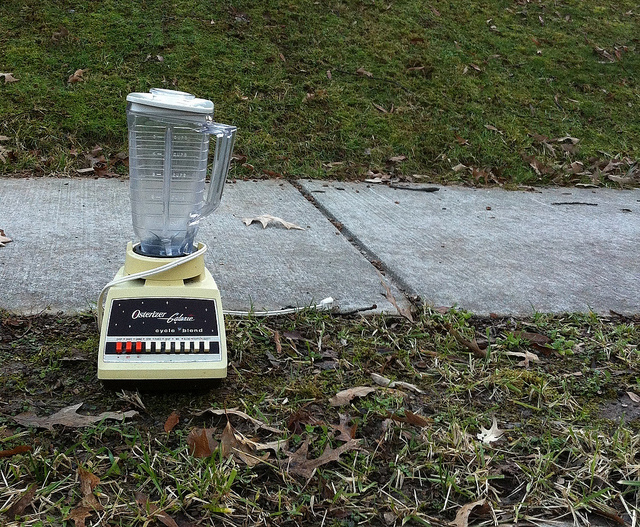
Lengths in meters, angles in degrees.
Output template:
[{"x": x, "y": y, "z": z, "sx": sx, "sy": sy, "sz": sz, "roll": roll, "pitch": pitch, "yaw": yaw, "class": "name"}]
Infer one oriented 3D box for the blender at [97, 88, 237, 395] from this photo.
[{"x": -0.562, "y": -0.100, "z": 1.982, "sx": 0.467, "sy": 0.974, "sz": 0.820, "roll": 2, "pitch": 30, "yaw": -11, "class": "blender"}]
